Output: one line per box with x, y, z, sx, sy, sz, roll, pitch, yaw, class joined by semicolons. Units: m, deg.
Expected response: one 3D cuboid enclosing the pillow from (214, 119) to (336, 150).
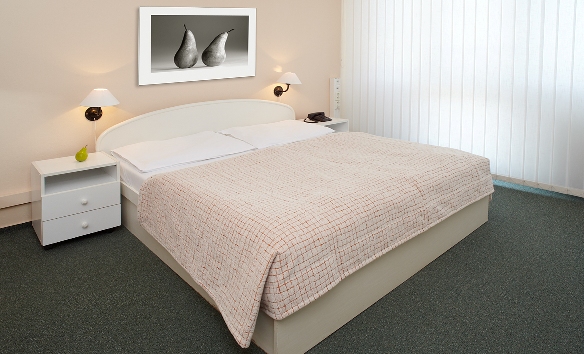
-0.158;-0.586;4.983;0.858;0.122;0.637;-13;23;-33;pillow

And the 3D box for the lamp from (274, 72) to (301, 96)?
-0.108;-1.382;5.654;0.378;0.333;0.378;-10;20;-44;lamp

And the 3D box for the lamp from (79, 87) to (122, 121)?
-2.177;-0.848;4.309;0.373;0.323;0.369;11;28;-18;lamp

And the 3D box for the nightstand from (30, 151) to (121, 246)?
-2.391;0.186;4.204;0.625;0.756;0.828;23;23;37;nightstand

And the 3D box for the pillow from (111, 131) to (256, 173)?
-1.196;-0.319;4.374;1.013;0.135;0.648;-10;23;-36;pillow
